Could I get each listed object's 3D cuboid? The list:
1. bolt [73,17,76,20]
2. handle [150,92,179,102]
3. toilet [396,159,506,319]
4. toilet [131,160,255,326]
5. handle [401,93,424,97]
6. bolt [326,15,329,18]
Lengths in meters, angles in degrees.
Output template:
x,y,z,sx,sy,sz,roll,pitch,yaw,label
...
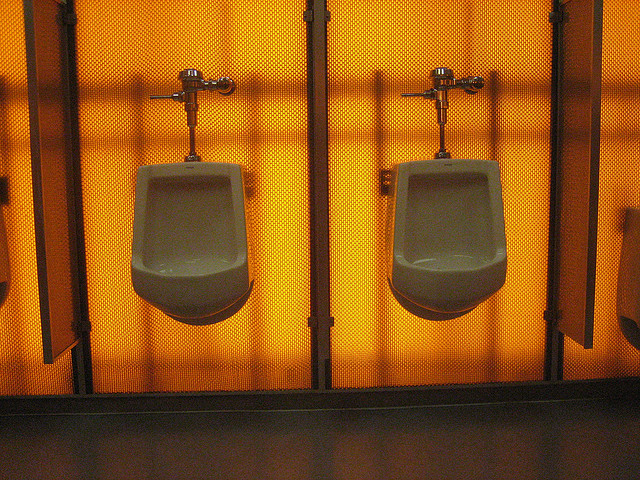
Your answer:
x,y,z,sx,sy,sz,roll,pitch,yaw,label
-1.344,-1.210,3.858,0.013,0.011,0.008,0,-27,-3,bolt
-0.824,-0.769,3.843,0.204,0.051,0.057,0,4,8,handle
0.678,-0.026,3.642,0.575,0.754,0.588,-1,11,5,toilet
-0.651,0.033,3.626,0.583,0.762,0.648,-3,16,-9,toilet
0.511,-0.796,3.881,0.135,0.021,0.016,-3,-19,-3,handle
0.037,-1.227,3.866,0.011,0.015,0.006,1,6,3,bolt
